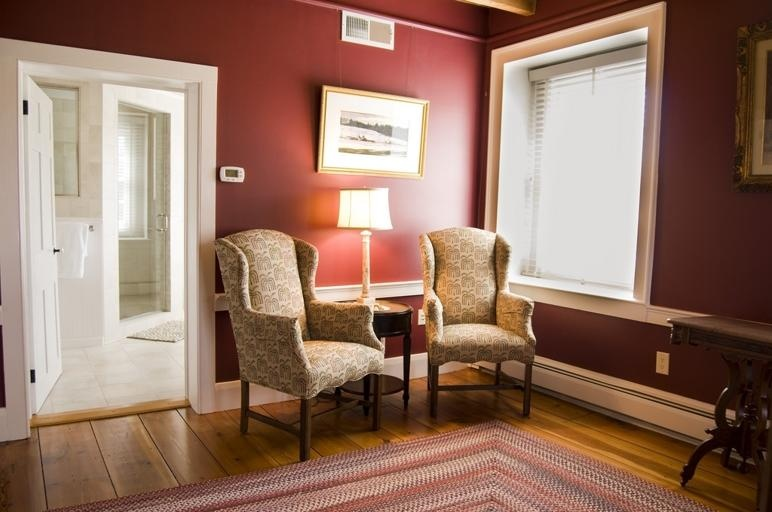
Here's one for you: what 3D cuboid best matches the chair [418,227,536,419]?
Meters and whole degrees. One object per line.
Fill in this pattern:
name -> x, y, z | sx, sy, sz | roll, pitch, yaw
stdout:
chair -> 0.764, 0.528, 4.825 | 0.909, 1.405, 0.899 | 0, 13, -4

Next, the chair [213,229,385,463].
chair -> -0.654, 0.580, 4.259 | 1.268, 1.495, 1.205 | 1, 2, 1

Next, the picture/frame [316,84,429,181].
picture/frame -> -0.156, -1.101, 4.948 | 0.949, 0.658, 0.044 | 1, 17, -29

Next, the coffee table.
coffee table -> -0.235, 0.777, 4.939 | 0.740, 1.069, 0.748 | -4, 9, -24

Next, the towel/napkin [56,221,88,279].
towel/napkin -> -3.174, -0.057, 5.745 | 0.284, 0.560, 0.188 | -5, 14, -25
